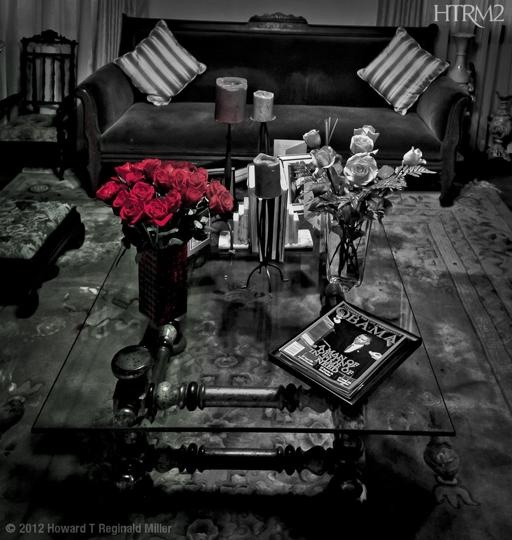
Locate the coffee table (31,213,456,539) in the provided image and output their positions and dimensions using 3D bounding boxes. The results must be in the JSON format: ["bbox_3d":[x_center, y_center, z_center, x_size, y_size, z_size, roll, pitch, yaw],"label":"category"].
[{"bbox_3d":[-0.018,0.282,1.236,0.879,0.215,0.809,4,25,5],"label":"coffee table"}]

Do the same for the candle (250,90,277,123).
[{"bbox_3d":[0.045,-1.057,2.804,0.128,0.195,0.202,1,20,-3],"label":"candle"}]

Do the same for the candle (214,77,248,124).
[{"bbox_3d":[-0.162,-1.045,2.702,0.191,0.228,0.111,-1,20,-8],"label":"candle"}]

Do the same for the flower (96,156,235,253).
[{"bbox_3d":[-0.270,-0.183,1.326,0.301,0.227,0.327,21,37,18],"label":"flower"}]

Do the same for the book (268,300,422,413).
[{"bbox_3d":[0.258,0.230,1.236,0.277,0.074,0.376,20,27,40],"label":"book"}]

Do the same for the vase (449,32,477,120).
[{"bbox_3d":[1.816,-1.732,3.866,0.226,0.611,0.228,16,31,38],"label":"vase"}]
